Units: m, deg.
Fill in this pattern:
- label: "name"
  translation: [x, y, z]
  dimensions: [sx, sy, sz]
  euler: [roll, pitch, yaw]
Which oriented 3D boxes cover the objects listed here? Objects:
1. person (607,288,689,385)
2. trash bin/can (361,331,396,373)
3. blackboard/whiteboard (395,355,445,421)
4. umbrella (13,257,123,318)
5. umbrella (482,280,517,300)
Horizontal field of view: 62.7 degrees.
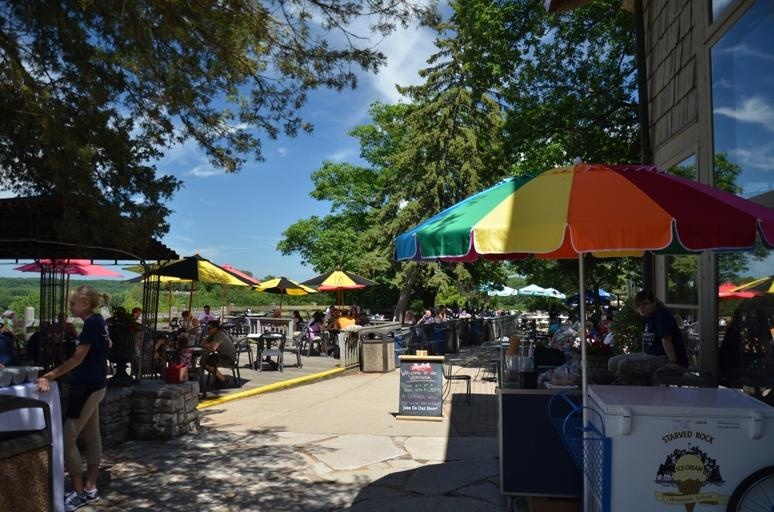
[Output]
- label: "person"
  translation: [3.920, 1.476, 9.460]
  dimensions: [1.073, 1.833, 1.012]
  euler: [-2, -10, 13]
- label: "trash bin/can"
  translation: [-0.221, 2.851, 19.050]
  dimensions: [1.083, 1.355, 1.072]
  euler: [4, -7, -43]
- label: "blackboard/whiteboard"
  translation: [0.730, 2.699, 12.908]
  dimensions: [1.155, 1.541, 1.077]
  euler: [-1, -11, 5]
- label: "umbrella"
  translation: [-8.558, 0.664, 16.171]
  dimensions: [1.767, 1.193, 1.842]
  euler: [-6, -13, 26]
- label: "umbrella"
  translation: [8.935, 2.809, 50.639]
  dimensions: [4.126, 1.390, 4.144]
  euler: [2, -6, 8]
